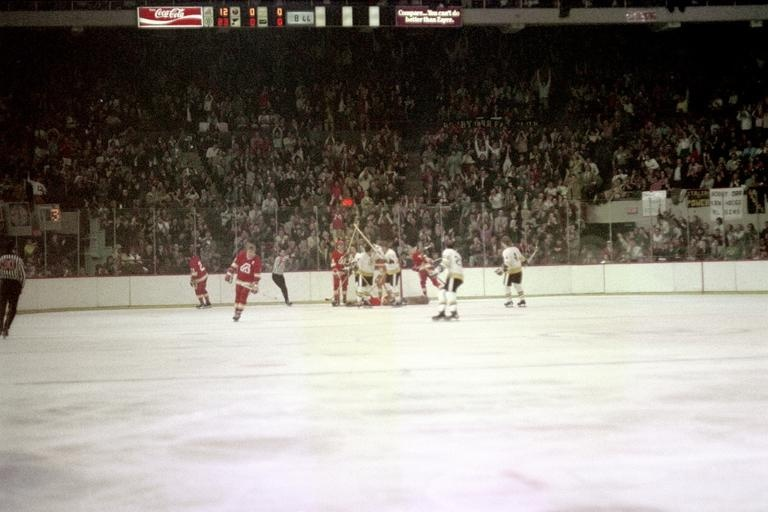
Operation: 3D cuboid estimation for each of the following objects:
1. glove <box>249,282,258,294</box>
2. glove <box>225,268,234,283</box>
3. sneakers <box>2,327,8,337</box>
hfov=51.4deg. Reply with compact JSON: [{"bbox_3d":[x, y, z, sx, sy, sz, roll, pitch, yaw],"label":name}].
[{"bbox_3d":[-3.755,0.881,22.886,0.231,0.310,0.501,-5,-15,-2],"label":"glove"},{"bbox_3d":[-4.936,0.594,25.422,0.279,0.409,0.400,15,-1,10],"label":"glove"},{"bbox_3d":[-9.077,1.815,19.090,0.153,0.249,0.135,-2,12,-6],"label":"sneakers"}]
